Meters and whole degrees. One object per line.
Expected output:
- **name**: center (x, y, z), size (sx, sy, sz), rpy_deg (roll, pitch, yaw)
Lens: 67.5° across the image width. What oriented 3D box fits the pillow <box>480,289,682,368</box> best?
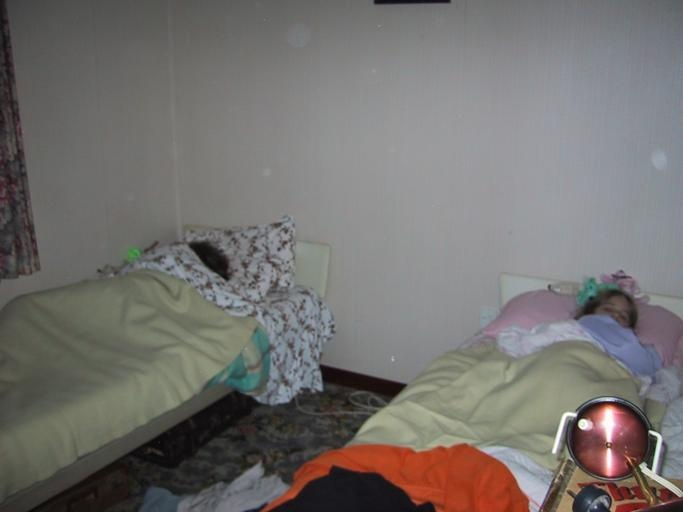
- **pillow**: center (1.302, 0.323, 2.642), size (0.575, 0.162, 0.472), rpy_deg (9, 24, 29)
